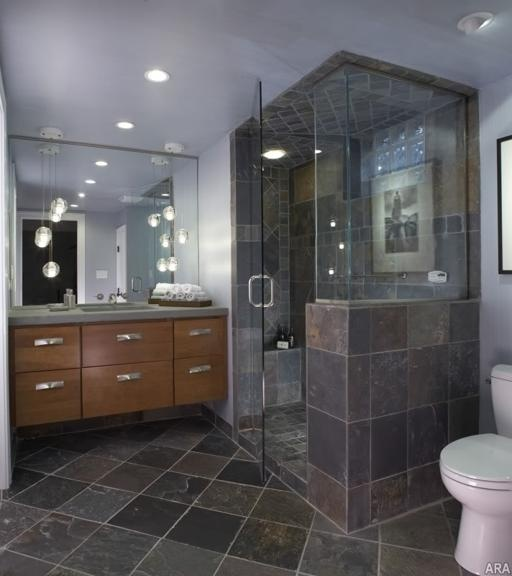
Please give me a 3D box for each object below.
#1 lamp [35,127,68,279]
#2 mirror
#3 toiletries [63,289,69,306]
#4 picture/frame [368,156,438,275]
[{"bbox_3d":[-1.434,-0.545,3.523,0.224,0.964,0.112,-2,5,-23],"label":"lamp"},{"bbox_3d":[-1.166,-0.483,3.673,1.036,1.180,0.050,-3,6,-26],"label":"mirror"},{"bbox_3d":[-1.342,0.071,3.570,0.033,0.113,0.068,-2,5,-21],"label":"toiletries"},{"bbox_3d":[0.713,-0.364,2.503,0.521,0.802,0.037,-4,7,-29],"label":"picture/frame"}]
